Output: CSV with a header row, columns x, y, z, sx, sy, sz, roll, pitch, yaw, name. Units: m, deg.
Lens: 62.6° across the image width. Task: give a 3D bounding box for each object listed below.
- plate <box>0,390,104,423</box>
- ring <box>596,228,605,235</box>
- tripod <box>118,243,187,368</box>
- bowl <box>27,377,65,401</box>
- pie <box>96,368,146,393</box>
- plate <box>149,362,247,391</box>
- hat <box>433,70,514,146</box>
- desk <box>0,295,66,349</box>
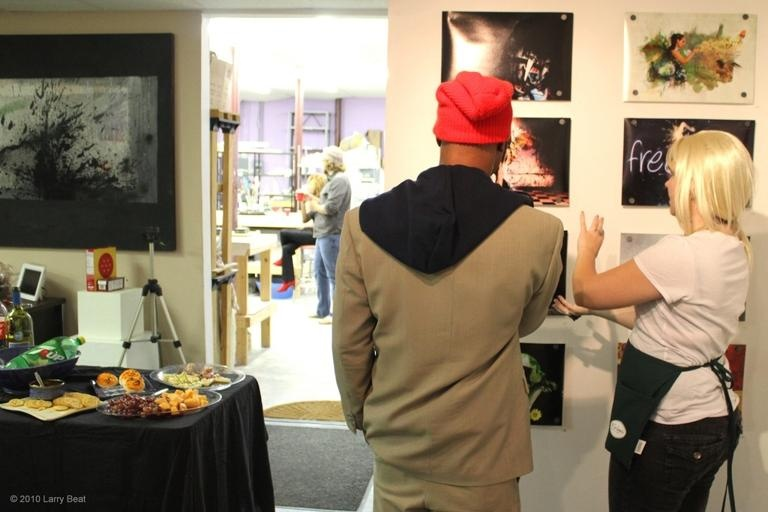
x,y,z,sx,sy,sz,roll,pitch,yaw,name
-1.660,0.751,3.111,0.211,0.034,0.225,4,5,28,plate
1.044,-0.115,3.049,0.029,0.042,0.042,4,20,10,ring
-1.713,0.382,4.731,0.444,1.002,0.651,1,11,-8,tripod
-1.692,0.680,3.168,0.118,0.053,0.121,2,4,0,bowl
-1.371,0.659,3.306,0.162,0.059,0.128,2,0,1,pie
-1.074,0.693,3.579,0.282,0.046,0.310,9,5,25,plate
0.353,-0.582,2.447,0.247,0.234,0.319,3,16,7,hat
-2.701,0.474,4.921,0.353,0.602,0.600,1,3,-14,desk
